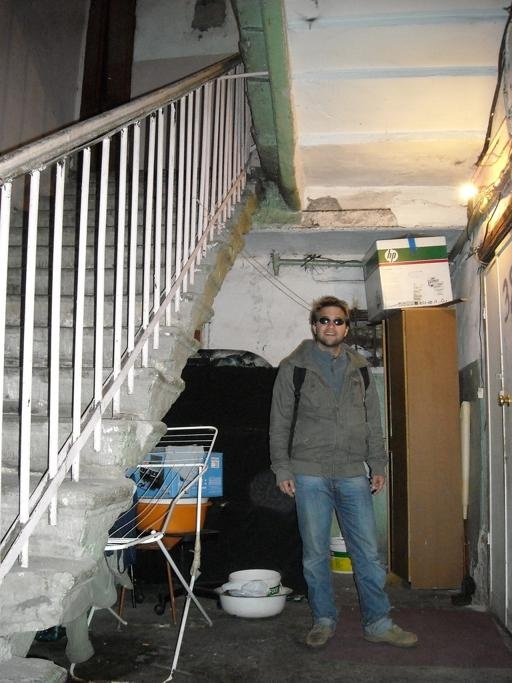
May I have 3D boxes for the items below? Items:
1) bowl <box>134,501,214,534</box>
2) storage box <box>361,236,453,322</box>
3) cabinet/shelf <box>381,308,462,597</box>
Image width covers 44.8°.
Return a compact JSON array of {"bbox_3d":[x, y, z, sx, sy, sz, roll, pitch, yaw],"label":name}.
[{"bbox_3d":[-0.418,0.917,3.227,0.390,0.191,0.443,2,-9,-10],"label":"bowl"},{"bbox_3d":[1.150,-0.505,4.840,0.626,0.472,0.620,-5,-1,-13],"label":"storage box"},{"bbox_3d":[1.146,0.754,4.541,0.489,1.974,0.797,0,-9,6],"label":"cabinet/shelf"}]
